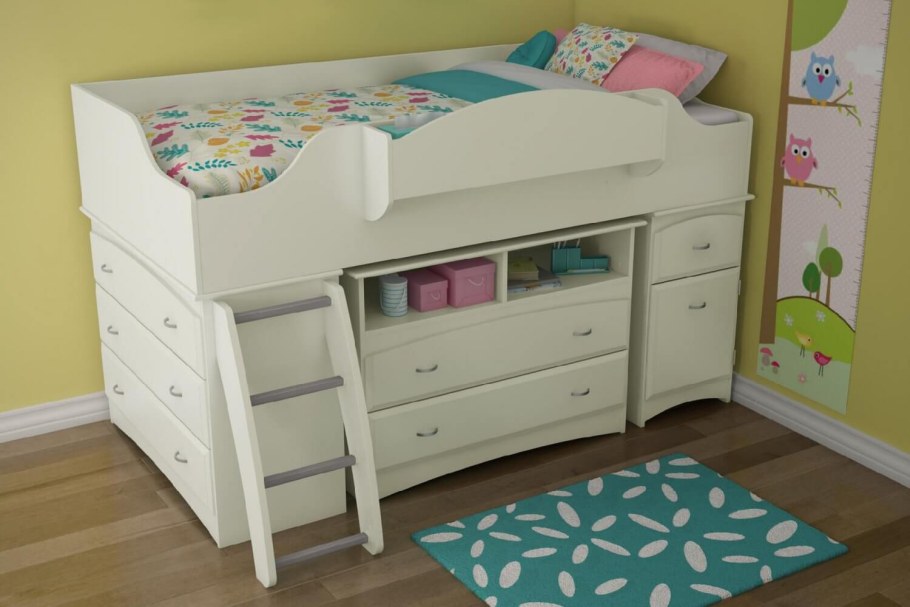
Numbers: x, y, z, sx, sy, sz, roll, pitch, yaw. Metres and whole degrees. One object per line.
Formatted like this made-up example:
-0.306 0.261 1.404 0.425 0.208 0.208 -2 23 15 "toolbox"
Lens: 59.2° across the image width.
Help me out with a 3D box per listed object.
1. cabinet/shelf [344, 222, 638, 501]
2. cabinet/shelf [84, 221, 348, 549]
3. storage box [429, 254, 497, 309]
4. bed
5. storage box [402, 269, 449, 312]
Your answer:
0.106 0.237 3.289 1.283 0.768 0.437 -11 30 -20 "cabinet/shelf"
-0.869 0.318 3.025 0.574 0.777 1.253 -12 24 -30 "cabinet/shelf"
0.048 -0.100 3.335 0.249 0.139 0.229 -10 19 -31 "storage box"
-0.212 0.064 3.210 2.372 1.190 1.266 -11 28 -24 "bed"
-0.114 -0.050 3.271 0.140 0.098 0.191 -11 22 -28 "storage box"
